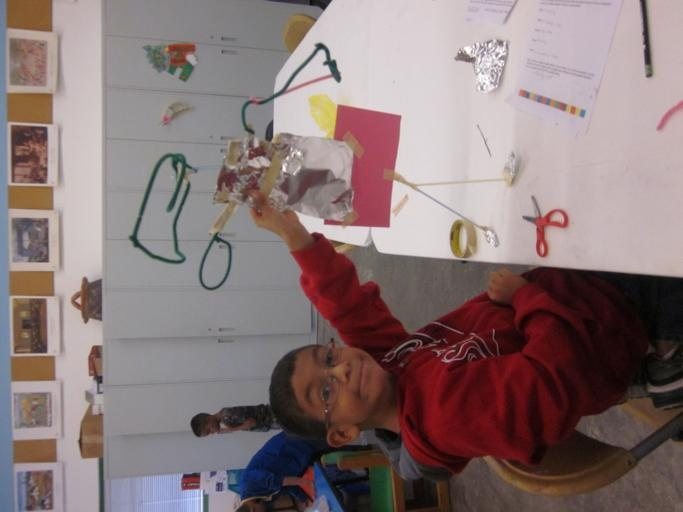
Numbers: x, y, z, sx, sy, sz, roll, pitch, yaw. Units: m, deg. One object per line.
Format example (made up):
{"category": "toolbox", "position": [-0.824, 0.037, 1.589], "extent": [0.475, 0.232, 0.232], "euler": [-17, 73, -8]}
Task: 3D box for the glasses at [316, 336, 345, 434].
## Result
{"category": "glasses", "position": [-0.026, 0.381, 1.803], "extent": [0.070, 0.172, 0.079], "euler": [-1, 1, 3]}
